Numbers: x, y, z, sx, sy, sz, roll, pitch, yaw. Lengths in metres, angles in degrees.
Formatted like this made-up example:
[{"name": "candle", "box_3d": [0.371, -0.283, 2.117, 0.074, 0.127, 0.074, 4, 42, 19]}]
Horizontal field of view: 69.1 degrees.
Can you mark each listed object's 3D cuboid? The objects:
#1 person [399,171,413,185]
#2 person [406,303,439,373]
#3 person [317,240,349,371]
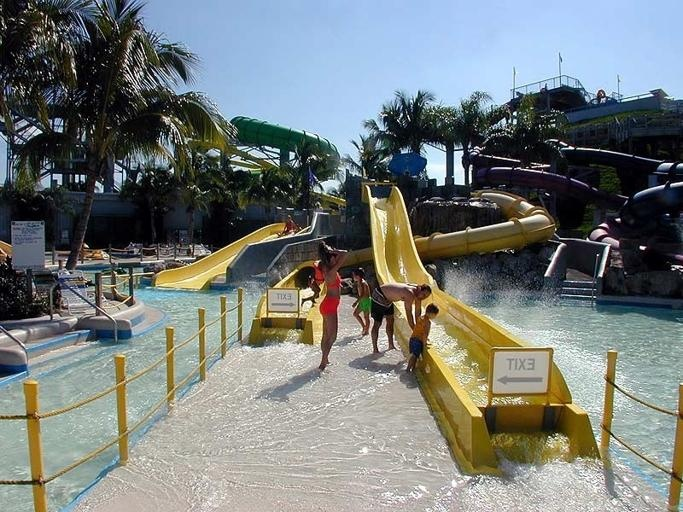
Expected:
[{"name": "person", "box_3d": [2.989, -3.478, 22.760, 0.697, 0.765, 0.747, -1, 10, -9]}, {"name": "person", "box_3d": [1.184, 1.181, 7.245, 0.278, 1.105, 0.659, 0, 7, -21]}, {"name": "person", "box_3d": [-0.151, 0.707, 7.677, 0.415, 1.897, 0.831, 2, 7, -2]}]
